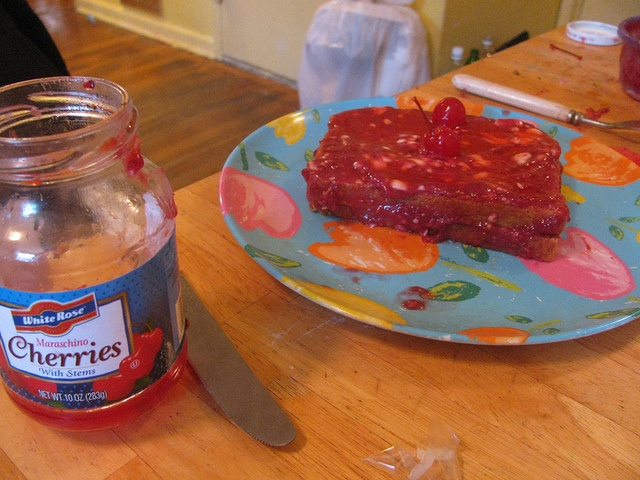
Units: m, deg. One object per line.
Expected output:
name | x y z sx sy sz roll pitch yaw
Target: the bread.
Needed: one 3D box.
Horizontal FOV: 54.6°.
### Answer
bread | 0.179 -0.086 1.099 0.438 0.099 0.306 7 38 8
